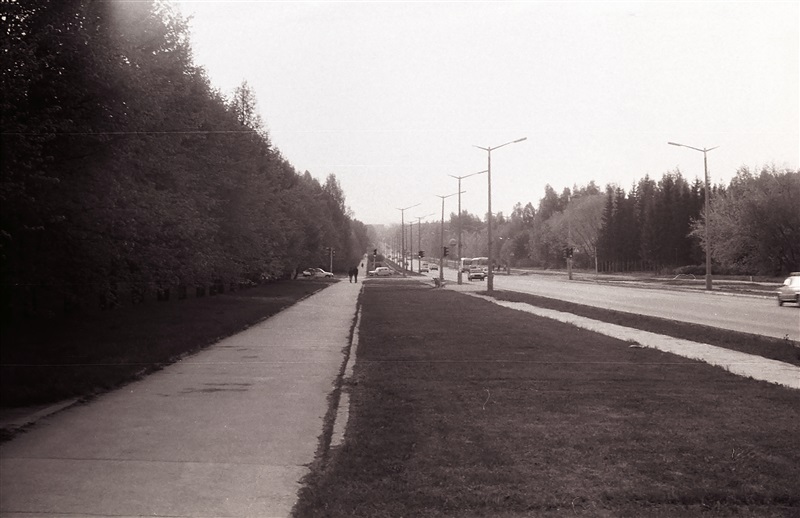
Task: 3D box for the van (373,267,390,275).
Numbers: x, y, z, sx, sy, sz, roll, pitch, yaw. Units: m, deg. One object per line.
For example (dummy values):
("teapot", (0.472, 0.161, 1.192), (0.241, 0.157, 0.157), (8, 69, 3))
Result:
("van", (-2.786, 1.944, 107.027), (2.127, 1.091, 1.395), (-1, 1, 17))
